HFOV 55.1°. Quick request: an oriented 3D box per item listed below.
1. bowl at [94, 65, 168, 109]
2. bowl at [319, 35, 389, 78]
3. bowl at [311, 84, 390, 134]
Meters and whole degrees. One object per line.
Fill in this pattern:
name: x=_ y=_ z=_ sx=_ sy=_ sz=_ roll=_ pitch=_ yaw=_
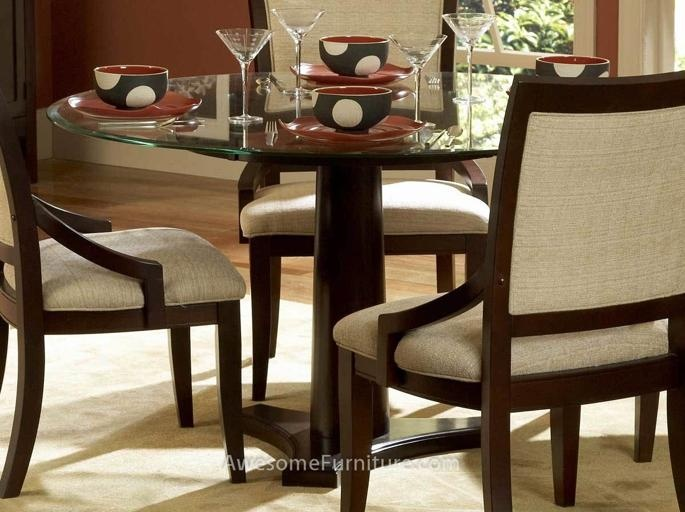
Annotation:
bowl: x=-0.514 y=-0.410 z=1.623 sx=0.151 sy=0.083 sz=0.147 roll=1 pitch=21 yaw=0
bowl: x=0.039 y=-0.647 z=2.038 sx=0.164 sy=0.090 sz=0.164 roll=0 pitch=21 yaw=0
bowl: x=0.023 y=-0.322 z=1.461 sx=0.181 sy=0.099 sz=0.187 roll=0 pitch=23 yaw=0
